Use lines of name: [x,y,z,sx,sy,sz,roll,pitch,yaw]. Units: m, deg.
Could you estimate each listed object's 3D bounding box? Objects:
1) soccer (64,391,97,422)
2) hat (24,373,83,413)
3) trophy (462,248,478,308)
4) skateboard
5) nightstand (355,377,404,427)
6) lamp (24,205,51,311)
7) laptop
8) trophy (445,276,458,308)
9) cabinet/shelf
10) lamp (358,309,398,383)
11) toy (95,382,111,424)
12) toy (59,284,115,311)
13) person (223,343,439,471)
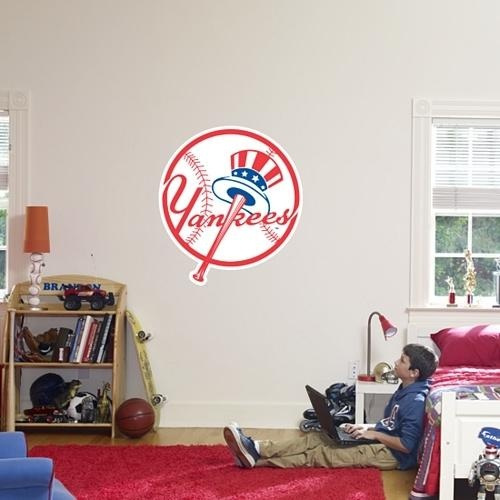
soccer: [-1.185,1.100,3.911,0.213,0.197,0.183,11,-15,18]
hat: [-1.440,1.048,4.086,0.335,0.226,0.173,1,1,11]
trophy: [1.697,0.210,4.314,0.088,0.439,0.192,-2,-5,21]
skateboard: [-0.762,0.904,4.109,0.162,0.937,0.234,-22,5,17]
nightstand: [0.872,1.066,4.017,0.416,0.359,0.321,0,-3,0]
lamp: [-1.570,0.051,4.133,0.175,0.768,0.333,1,-5,-19]
laptop: [0.476,0.936,3.188,0.393,0.220,0.334,7,-4,-18]
trophy: [1.546,0.323,4.290,0.067,0.223,0.216,-2,-5,19]
cabinet/shelf: [-1.339,0.730,4.035,1.061,1.014,0.270,2,3,-5]
lamp: [0.887,0.673,4.015,0.255,0.514,0.249,3,2,6]
toy: [-1.041,1.087,3.986,0.104,0.253,0.200,1,-4,-15]
toy: [-1.191,0.360,4.086,0.411,0.164,0.181,0,0,0]
person: [0.496,0.933,3.246,1.213,0.556,0.466,-7,-7,10]
